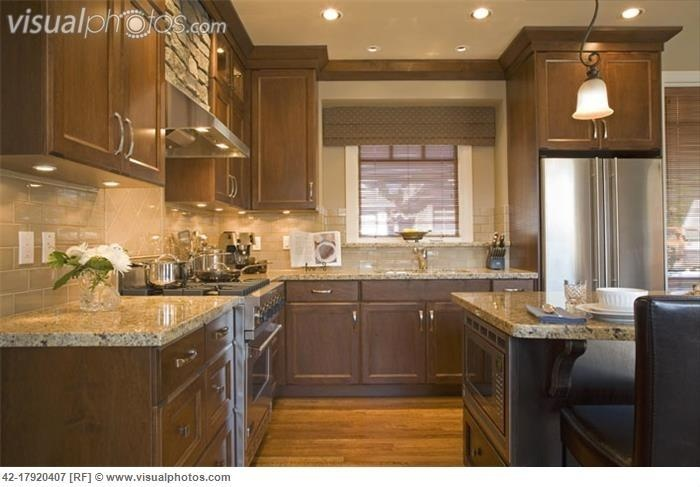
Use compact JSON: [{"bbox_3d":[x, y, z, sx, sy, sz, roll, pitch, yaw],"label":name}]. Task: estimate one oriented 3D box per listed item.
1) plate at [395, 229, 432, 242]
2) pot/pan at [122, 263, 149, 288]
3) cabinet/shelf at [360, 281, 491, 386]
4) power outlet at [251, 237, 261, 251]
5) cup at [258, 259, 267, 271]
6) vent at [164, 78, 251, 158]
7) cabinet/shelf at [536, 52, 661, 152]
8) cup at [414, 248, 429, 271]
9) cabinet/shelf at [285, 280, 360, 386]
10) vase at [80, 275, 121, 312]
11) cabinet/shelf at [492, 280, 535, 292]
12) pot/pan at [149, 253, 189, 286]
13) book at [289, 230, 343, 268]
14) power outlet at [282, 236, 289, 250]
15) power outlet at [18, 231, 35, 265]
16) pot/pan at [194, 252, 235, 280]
[{"bbox_3d":[0.537,-0.070,5.121,0.324,0.102,0.178,2,4,38],"label":"plate"},{"bbox_3d":[-1.309,0.209,3.455,0.134,0.160,0.242,1,-1,-3],"label":"pot/pan"},{"bbox_3d":[0.542,0.738,4.727,1.153,0.937,0.575,2,-6,-19],"label":"cabinet/shelf"},{"bbox_3d":[-0.821,0.004,4.918,0.016,0.155,0.117,-5,-5,34],"label":"power outlet"},{"bbox_3d":[-0.709,0.179,4.581,0.088,0.066,0.098,1,2,-2],"label":"cup"},{"bbox_3d":[-0.915,-0.710,3.518,0.432,0.171,0.599,5,-10,8],"label":"vent"},{"bbox_3d":[2.116,-1.207,4.658,0.400,0.867,1.014,-25,25,-37],"label":"cabinet/shelf"},{"bbox_3d":[0.632,0.135,5.039,0.124,0.184,0.292,0,3,7],"label":"cup"},{"bbox_3d":[-0.211,0.719,4.729,0.776,1.081,0.731,0,-6,-1],"label":"cabinet/shelf"},{"bbox_3d":[-1.291,0.227,2.926,0.183,0.206,0.198,8,10,39],"label":"vase"},{"bbox_3d":[1.299,0.327,4.468,0.350,0.089,0.080,0,3,-1],"label":"cabinet/shelf"},{"bbox_3d":[-1.107,0.174,3.449,0.255,0.216,0.237,-3,-3,7],"label":"pot/pan"},{"bbox_3d":[-0.314,0.044,4.754,0.465,0.313,0.047,-1,-11,6],"label":"book"},{"bbox_3d":[-0.567,-0.007,4.996,0.105,0.104,0.025,-5,-3,27],"label":"power outlet"},{"bbox_3d":[-1.603,0.022,2.815,0.017,0.168,0.090,1,3,22],"label":"power outlet"},{"bbox_3d":[-0.917,0.154,3.857,0.213,0.146,0.211,0,1,3],"label":"pot/pan"}]
